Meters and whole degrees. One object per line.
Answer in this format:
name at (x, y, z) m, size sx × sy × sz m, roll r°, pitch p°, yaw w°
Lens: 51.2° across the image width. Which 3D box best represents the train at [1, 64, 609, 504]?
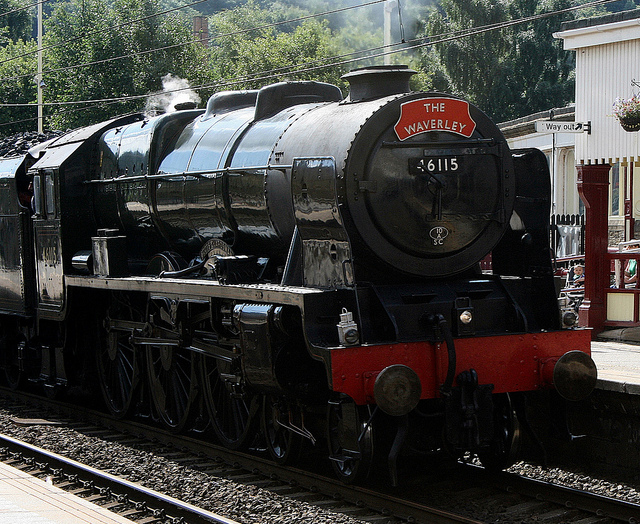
train at (-1.666, 0.009, 10.101) m, size 3.812 × 3.725 × 11.338 m, roll -3°, pitch 4°, yaw -34°
